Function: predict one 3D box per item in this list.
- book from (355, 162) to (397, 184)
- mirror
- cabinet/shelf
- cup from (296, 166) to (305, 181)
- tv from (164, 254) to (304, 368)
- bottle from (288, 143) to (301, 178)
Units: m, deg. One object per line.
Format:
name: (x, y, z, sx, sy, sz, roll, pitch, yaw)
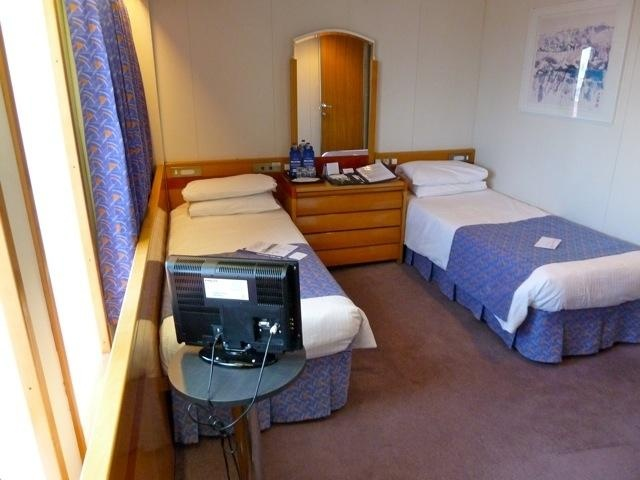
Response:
book: (0.537, -0.651, 4.655, 0.255, 0.064, 0.249, -14, 40, -21)
mirror: (0.198, -1.365, 4.672, 0.663, 1.271, 0.071, 10, 38, 18)
cabinet/shelf: (0.280, -0.253, 4.794, 1.092, 0.861, 0.666, -6, 31, -5)
cup: (-0.178, -0.635, 4.529, 0.092, 0.183, 0.096, 1, 25, 0)
tv: (-0.346, 0.303, 1.995, 0.481, 0.411, 0.143, 5, 27, 11)
bottle: (-0.225, -0.751, 4.543, 0.135, 0.406, 0.150, -2, 30, -7)
